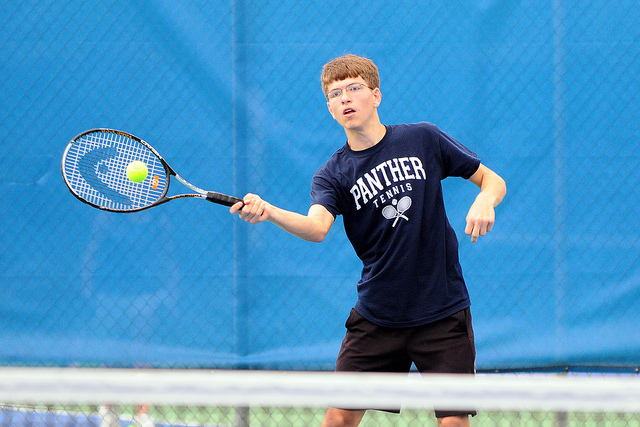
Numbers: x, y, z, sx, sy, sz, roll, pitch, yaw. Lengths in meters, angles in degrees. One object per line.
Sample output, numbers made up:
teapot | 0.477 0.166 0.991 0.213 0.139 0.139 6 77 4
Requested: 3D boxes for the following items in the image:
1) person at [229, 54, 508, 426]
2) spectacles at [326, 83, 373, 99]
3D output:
person | 0.432 0.011 5.728 1.365 1.964 0.566 -2 -19 -5
spectacles | 0.162 -0.747 5.703 0.257 0.068 0.042 -10 -20 12
